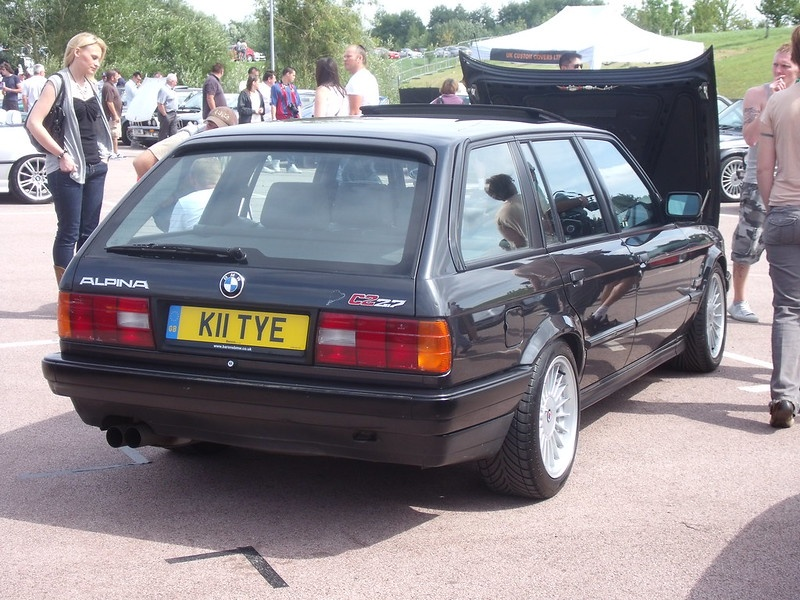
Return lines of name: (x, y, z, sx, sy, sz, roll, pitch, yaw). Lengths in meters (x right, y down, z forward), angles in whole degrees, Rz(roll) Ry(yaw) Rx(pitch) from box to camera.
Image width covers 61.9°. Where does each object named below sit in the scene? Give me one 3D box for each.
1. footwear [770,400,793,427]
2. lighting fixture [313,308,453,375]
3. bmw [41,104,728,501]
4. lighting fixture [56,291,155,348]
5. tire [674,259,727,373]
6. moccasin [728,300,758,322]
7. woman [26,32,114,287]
footwear: (2.482, 0.740, 4.309, 0.095, 0.098, 0.247, -2, 5, 21)
lighting fixture: (-0.095, 0.160, 2.683, 0.636, 0.222, 0.069, 2, 2, 35)
bmw: (0.478, -0.376, 4.818, 2.629, 1.508, 4.613, 7, 16, 32)
lighting fixture: (-1.319, 0.090, 2.929, 0.362, 0.077, 0.312, 4, 8, 11)
tire: (2.331, 0.122, 5.182, 0.373, 0.799, 0.897, 4, -8, 35)
moccasin: (3.612, 0.129, 6.959, 0.146, 0.134, 0.360, -4, 12, -5)
woman: (-3.224, -1.318, 6.546, 0.870, 2.423, 0.902, 16, 21, 11)
